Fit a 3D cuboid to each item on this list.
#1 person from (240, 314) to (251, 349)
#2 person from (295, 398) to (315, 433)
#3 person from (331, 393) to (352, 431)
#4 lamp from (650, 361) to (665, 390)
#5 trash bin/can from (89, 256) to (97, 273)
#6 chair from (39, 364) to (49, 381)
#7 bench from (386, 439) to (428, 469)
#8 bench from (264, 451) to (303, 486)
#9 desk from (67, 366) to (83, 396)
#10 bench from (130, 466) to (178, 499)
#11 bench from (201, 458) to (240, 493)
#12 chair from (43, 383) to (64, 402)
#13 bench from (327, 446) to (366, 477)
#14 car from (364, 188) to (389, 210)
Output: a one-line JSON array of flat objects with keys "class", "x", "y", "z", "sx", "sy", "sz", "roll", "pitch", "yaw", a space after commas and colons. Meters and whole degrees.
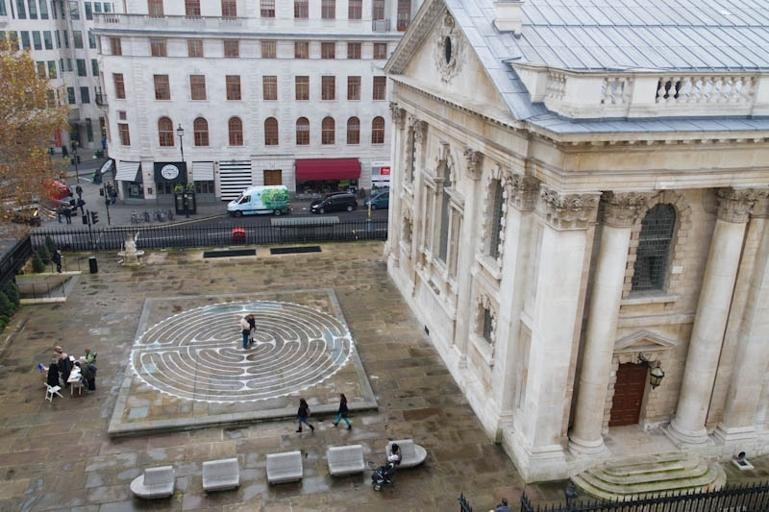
[{"class": "person", "x": -9.044, "y": 4.916, "z": 47.463, "sx": 0.761, "sy": 2.216, "sz": 0.783, "roll": -8, "pitch": 19, "yaw": -10}, {"class": "person", "x": -4.579, "y": 8.778, "z": 41.023, "sx": 1.024, "sy": 1.986, "sz": 1.243, "roll": -6, "pitch": 18, "yaw": -8}, {"class": "person", "x": -2.338, "y": 8.713, "z": 41.152, "sx": 1.015, "sy": 2.031, "sz": 1.039, "roll": 1, "pitch": 19, "yaw": 13}, {"class": "lamp", "x": 14.582, "y": 6.289, "z": 38.684, "sx": 0.783, "sy": 1.631, "sz": 0.790, "roll": 3, "pitch": 38, "yaw": 10}, {"class": "trash bin/can", "x": -22.984, "y": 0.663, "z": 57.005, "sx": 0.625, "sy": 1.252, "sz": 0.683, "roll": -13, "pitch": 20, "yaw": -24}, {"class": "chair", "x": -20.907, "y": 7.142, "z": 44.389, "sx": 0.795, "sy": 0.895, "sz": 0.735, "roll": 0, "pitch": 13, "yaw": -13}, {"class": "bench", "x": 1.243, "y": 10.481, "z": 38.610, "sx": 1.993, "sy": 0.882, "sz": 1.416, "roll": -1, "pitch": 12, "yaw": -5}, {"class": "bench", "x": -5.196, "y": 10.962, "z": 37.587, "sx": 1.749, "sy": 1.594, "sz": 1.232, "roll": -3, "pitch": -4, "yaw": -9}, {"class": "desk", "x": -18.452, "y": 7.373, "z": 43.118, "sx": 0.710, "sy": 0.780, "sz": 1.712, "roll": -3, "pitch": 14, "yaw": -21}, {"class": "bench", "x": -11.784, "y": 11.497, "z": 36.694, "sx": 2.012, "sy": 0.872, "sz": 1.590, "roll": 1, "pitch": 17, "yaw": -9}, {"class": "bench", "x": -8.432, "y": 11.217, "z": 37.120, "sx": 1.798, "sy": 1.060, "sz": 1.741, "roll": -2, "pitch": 4, "yaw": -9}, {"class": "chair", "x": -19.717, "y": 7.904, "z": 42.956, "sx": 0.956, "sy": 0.879, "sz": 1.292, "roll": -12, "pitch": 19, "yaw": -23}, {"class": "bench", "x": -2.027, "y": 10.760, "z": 38.074, "sx": 2.189, "sy": 1.336, "sz": 1.501, "roll": -3, "pitch": 28, "yaw": -12}, {"class": "car", "x": -0.723, "y": -6.195, "z": 78.468, "sx": 2.451, "sy": 1.997, "sz": 2.731, "roll": -3, "pitch": 17, "yaw": 1}]
